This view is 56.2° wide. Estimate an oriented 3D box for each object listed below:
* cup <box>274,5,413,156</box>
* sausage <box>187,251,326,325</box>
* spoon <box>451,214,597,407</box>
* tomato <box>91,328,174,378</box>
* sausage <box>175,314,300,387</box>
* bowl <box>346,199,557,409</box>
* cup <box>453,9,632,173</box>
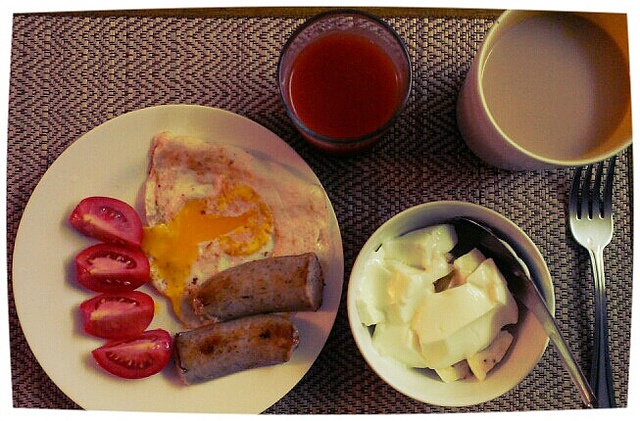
[{"bbox_3d":[0.073,-0.380,1.841,0.365,0.267,0.405,-1,98,2],"label":"cup"},{"bbox_3d":[-0.189,0.251,1.838,0.362,0.148,0.189,-9,50,9],"label":"sausage"},{"bbox_3d":[0.589,0.316,1.754,0.115,0.098,0.645,-43,66,35],"label":"spoon"},{"bbox_3d":[-0.556,0.444,1.810,0.238,0.041,0.126,-16,83,-3],"label":"tomato"},{"bbox_3d":[-0.255,0.424,1.802,0.363,0.125,0.180,-10,67,2],"label":"sausage"},{"bbox_3d":[0.361,0.263,1.696,0.571,0.229,0.560,0,82,-1],"label":"bowl"},{"bbox_3d":[0.671,-0.331,1.757,0.480,0.274,0.455,0,82,-1],"label":"cup"}]
